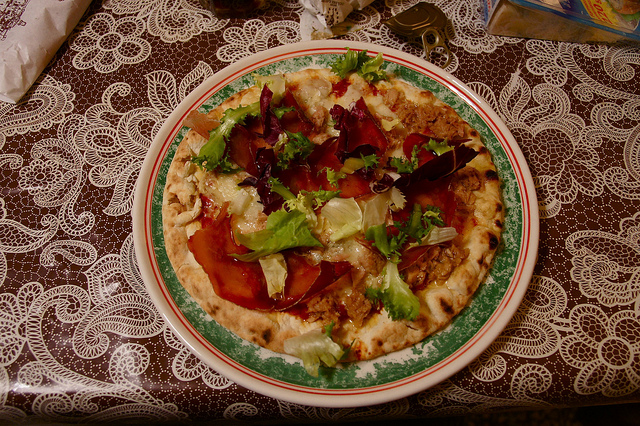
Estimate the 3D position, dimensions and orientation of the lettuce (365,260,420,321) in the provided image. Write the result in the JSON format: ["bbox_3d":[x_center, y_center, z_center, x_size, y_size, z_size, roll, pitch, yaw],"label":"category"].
[{"bbox_3d":[0.449,0.473,3.201,0.353,0.161,0.243,42,87,5],"label":"lettuce"}]

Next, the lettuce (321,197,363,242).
[{"bbox_3d":[0.131,0.013,3.217,0.227,0.079,0.235,-21,85,0],"label":"lettuce"}]

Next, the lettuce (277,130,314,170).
[{"bbox_3d":[-0.154,-0.375,3.327,0.212,0.076,0.207,-38,89,-18],"label":"lettuce"}]

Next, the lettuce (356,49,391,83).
[{"bbox_3d":[0.321,-0.927,3.494,0.189,0.082,0.208,33,90,-4],"label":"lettuce"}]

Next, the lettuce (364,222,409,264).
[{"bbox_3d":[0.379,0.187,3.201,0.264,0.331,0.128,20,60,-8],"label":"lettuce"}]

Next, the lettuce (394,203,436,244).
[{"bbox_3d":[0.564,0.040,3.189,0.070,0.245,0.215,27,86,44],"label":"lettuce"}]

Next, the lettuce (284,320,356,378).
[{"bbox_3d":[-0.042,0.769,3.185,0.308,0.092,0.324,-28,91,-2],"label":"lettuce"}]

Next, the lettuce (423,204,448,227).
[{"bbox_3d":[0.669,0.005,3.232,0.105,0.033,0.115,14,64,-17],"label":"lettuce"}]

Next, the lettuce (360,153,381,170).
[{"bbox_3d":[0.291,-0.306,3.289,0.122,0.070,0.093,7,85,2],"label":"lettuce"}]
